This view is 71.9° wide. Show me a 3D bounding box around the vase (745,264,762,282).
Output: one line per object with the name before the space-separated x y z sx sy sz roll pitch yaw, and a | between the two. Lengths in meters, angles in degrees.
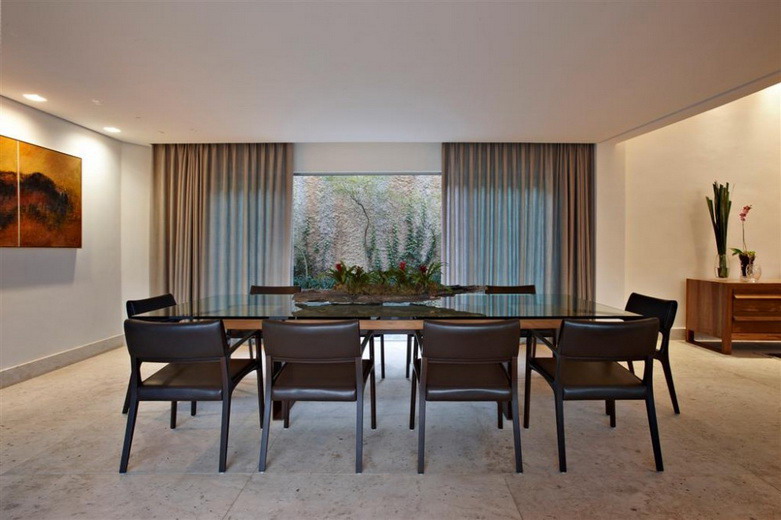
vase | 4.475 0.170 6.623 0.179 0.227 0.231 0 -5 -3

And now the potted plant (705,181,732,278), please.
potted plant | 4.196 -0.408 6.920 0.287 0.925 0.433 -1 0 32
